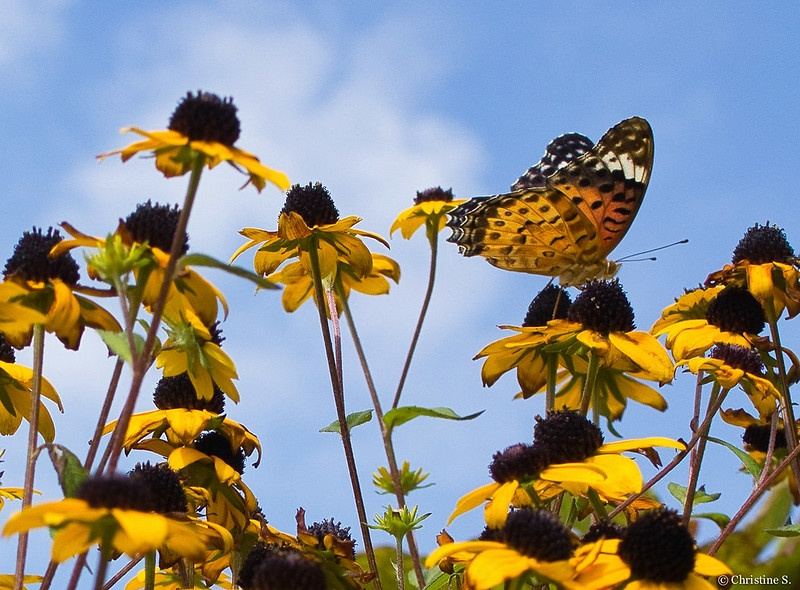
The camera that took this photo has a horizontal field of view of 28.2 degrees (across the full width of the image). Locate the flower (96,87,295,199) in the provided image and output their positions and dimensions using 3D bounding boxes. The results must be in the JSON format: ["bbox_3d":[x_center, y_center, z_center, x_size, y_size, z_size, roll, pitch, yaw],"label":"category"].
[{"bbox_3d":[-0.819,-0.696,6.748,0.807,0.331,0.726,13,-7,-24],"label":"flower"}]

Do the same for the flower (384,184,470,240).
[{"bbox_3d":[0.207,-0.428,8.500,0.458,0.336,0.524,2,3,4],"label":"flower"}]

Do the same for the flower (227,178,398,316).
[{"bbox_3d":[-0.382,-0.351,7.438,0.645,0.591,0.709,3,6,23],"label":"flower"}]
